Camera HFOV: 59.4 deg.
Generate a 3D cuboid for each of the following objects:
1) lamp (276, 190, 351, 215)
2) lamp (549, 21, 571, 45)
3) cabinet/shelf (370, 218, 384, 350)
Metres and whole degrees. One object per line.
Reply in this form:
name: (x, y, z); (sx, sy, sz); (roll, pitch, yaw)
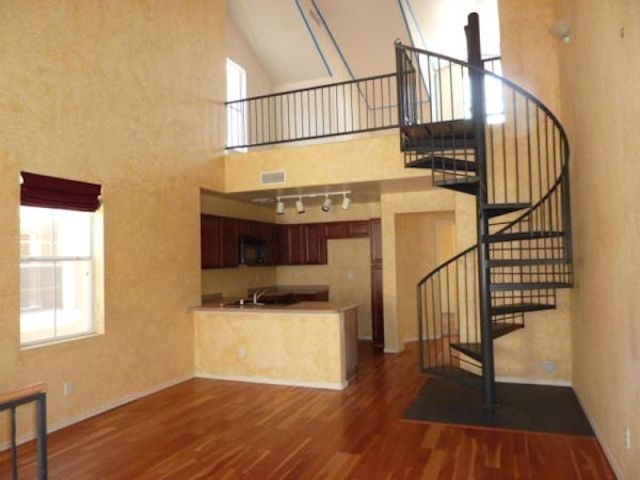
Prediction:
lamp: (-0.126, -0.629, 9.650); (1.266, 0.518, 2.002); (-2, 10, -4)
lamp: (2.843, -2.435, 6.616); (0.209, 0.210, 0.500); (4, 11, 25)
cabinet/shelf: (1.113, 0.758, 10.076); (0.385, 2.213, 0.178); (0, 3, 39)
